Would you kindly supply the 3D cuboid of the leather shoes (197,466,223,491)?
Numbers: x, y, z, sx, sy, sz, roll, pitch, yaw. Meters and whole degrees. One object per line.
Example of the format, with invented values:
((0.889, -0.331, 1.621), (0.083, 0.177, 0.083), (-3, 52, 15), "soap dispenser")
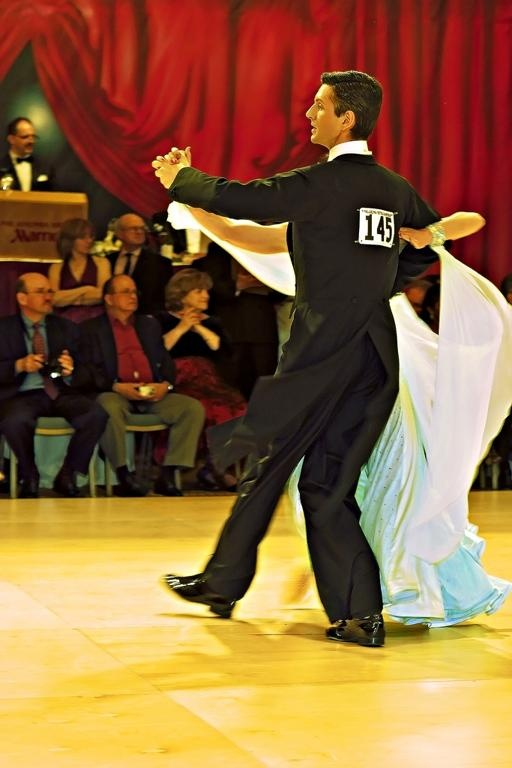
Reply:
((-0.290, 0.698, 5.752), (0.249, 0.187, 0.136), (4, 14, 15), "leather shoes")

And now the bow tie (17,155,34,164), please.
((-1.762, -1.701, 5.928), (0.091, 0.023, 0.084), (-3, 3, -28), "bow tie")

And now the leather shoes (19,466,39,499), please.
((-1.516, 0.656, 5.184), (0.117, 0.216, 0.173), (3, 7, -17), "leather shoes")

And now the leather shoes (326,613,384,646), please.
((0.247, 0.605, 1.934), (0.150, 0.091, 0.059), (1, -8, 42), "leather shoes")

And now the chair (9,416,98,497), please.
((-1.341, 0.489, 5.391), (0.747, 0.525, 0.571), (0, -5, -3), "chair")

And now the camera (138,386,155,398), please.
((-0.768, 0.061, 5.400), (0.098, 0.058, 0.095), (-1, -6, 31), "camera")

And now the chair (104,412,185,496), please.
((-0.781, 0.543, 5.531), (0.647, 0.592, 0.649), (12, -17, -39), "chair")

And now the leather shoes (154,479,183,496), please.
((-0.606, 0.737, 5.507), (0.193, 0.083, 0.104), (22, 2, -5), "leather shoes")

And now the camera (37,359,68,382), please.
((-1.371, -0.072, 5.269), (0.162, 0.129, 0.145), (0, 4, 14), "camera")

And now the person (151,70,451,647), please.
((0.087, -0.090, 2.016), (0.643, 1.411, 0.447), (6, 7, 8), "person")
